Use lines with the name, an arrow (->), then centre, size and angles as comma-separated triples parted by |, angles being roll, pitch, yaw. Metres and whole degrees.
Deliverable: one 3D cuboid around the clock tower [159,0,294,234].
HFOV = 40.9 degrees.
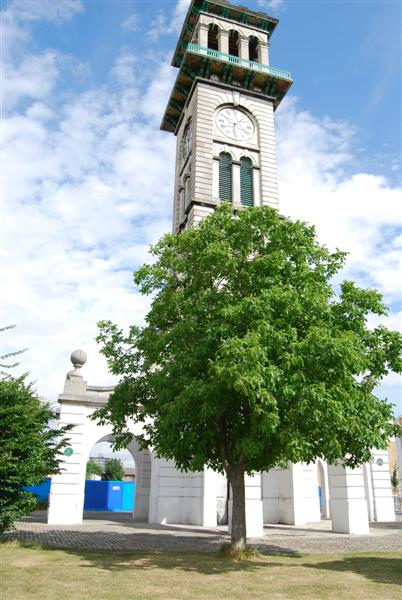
clock tower -> 1.745, -11.925, 34.729 | 7.795, 17.905, 5.842 | -2, -18, 8
